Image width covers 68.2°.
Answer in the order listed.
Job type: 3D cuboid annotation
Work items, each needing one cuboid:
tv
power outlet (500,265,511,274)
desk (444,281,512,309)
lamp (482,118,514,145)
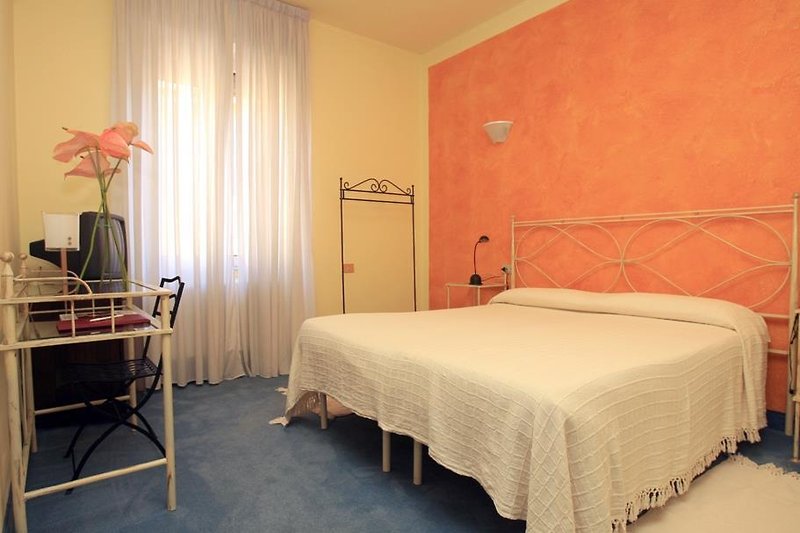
[{"bbox_3d":[-2.248,-0.105,4.034,0.680,0.535,0.596,2,3,-12],"label":"tv"},{"bbox_3d":[0.998,0.035,5.552,0.016,0.064,0.068,-2,4,-42],"label":"power outlet"},{"bbox_3d":[0.730,0.231,5.793,0.294,0.372,0.382,0,0,-29],"label":"desk"},{"bbox_3d":[0.895,-1.264,5.571,0.171,0.195,0.323,-2,3,-44],"label":"lamp"}]
